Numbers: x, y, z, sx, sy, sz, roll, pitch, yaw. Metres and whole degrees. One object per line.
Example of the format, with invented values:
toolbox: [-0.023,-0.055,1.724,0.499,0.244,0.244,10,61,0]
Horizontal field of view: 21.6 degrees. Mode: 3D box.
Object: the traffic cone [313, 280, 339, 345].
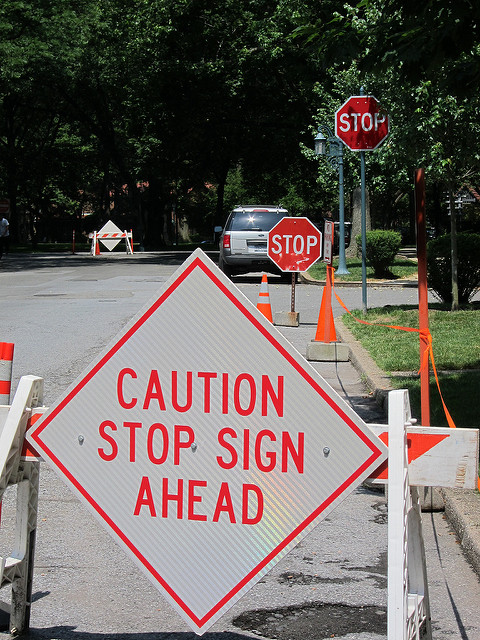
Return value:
traffic cone: [0.859,-0.063,12.424,0.213,0.568,0.890,1,6,4]
